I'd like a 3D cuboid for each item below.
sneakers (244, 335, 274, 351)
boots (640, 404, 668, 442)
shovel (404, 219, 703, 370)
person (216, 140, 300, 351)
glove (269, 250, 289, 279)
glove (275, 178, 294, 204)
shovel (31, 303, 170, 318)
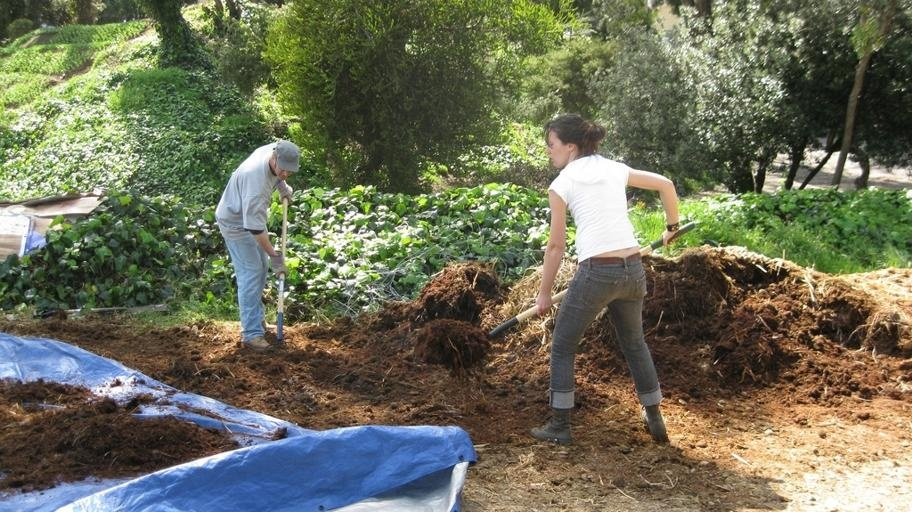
[{"bbox_3d":[-3.508,1.548,14.783,0.596,0.232,0.211,-1,13,14],"label":"sneakers"},{"bbox_3d":[3.161,2.689,13.420,0.188,0.514,0.372,-17,-30,7],"label":"boots"},{"bbox_3d":[1.668,0.778,14.386,3.693,0.847,0.844,-33,-2,13],"label":"shovel"},{"bbox_3d":[-3.531,-0.232,14.799,1.174,3.593,0.822,13,16,37],"label":"person"},{"bbox_3d":[-3.205,0.153,14.997,0.159,0.435,0.333,-22,-3,12],"label":"glove"},{"bbox_3d":[-3.169,-1.174,15.287,0.143,0.421,0.331,-4,5,45],"label":"glove"},{"bbox_3d":[-6.804,1.039,16.067,2.420,0.231,0.580,-1,12,-18],"label":"shovel"}]
